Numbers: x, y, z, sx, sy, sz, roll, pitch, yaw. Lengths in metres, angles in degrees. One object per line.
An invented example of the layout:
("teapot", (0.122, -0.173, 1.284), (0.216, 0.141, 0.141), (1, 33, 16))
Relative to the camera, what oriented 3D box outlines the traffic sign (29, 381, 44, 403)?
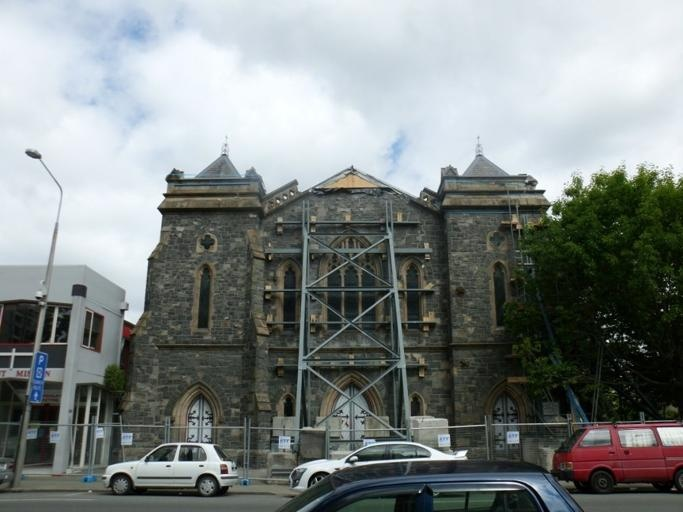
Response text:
("traffic sign", (-10.724, 4.771, 23.182), (0.129, 1.016, 0.778), (-20, -26, 15))
